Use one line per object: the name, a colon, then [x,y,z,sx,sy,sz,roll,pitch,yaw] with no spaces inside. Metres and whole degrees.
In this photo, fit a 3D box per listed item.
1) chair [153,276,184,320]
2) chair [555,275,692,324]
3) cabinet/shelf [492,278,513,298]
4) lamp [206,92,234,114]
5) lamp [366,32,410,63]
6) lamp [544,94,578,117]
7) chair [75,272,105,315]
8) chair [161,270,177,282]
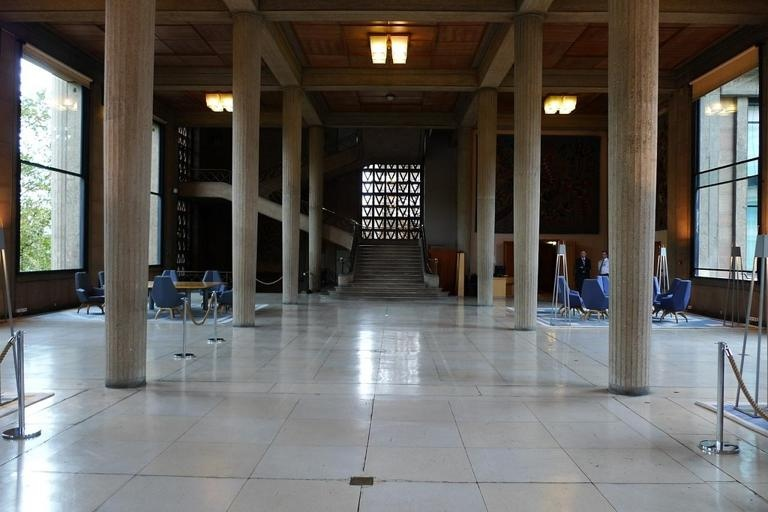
chair: [-4.822,0.938,13.116,0.678,0.870,0.798,0,-4,3]
chair: [5.852,1.112,14.379,2.886,1.286,2.112,2,10,5]
cabinet/shelf: [4.324,1.161,21.141,0.709,0.784,1.275,-1,-1,13]
lamp: [-5.068,-4.812,18.115,0.714,0.524,0.988,-1,10,-11]
lamp: [0.114,-5.269,14.585,1.103,0.742,0.600,0,10,3]
lamp: [5.344,-4.664,18.124,0.974,0.464,1.197,1,-5,-4]
chair: [-7.312,0.910,14.595,0.734,0.901,0.717,4,1,-23]
chair: [-5.355,0.508,14.613,0.241,0.297,0.280,2,-8,-19]
